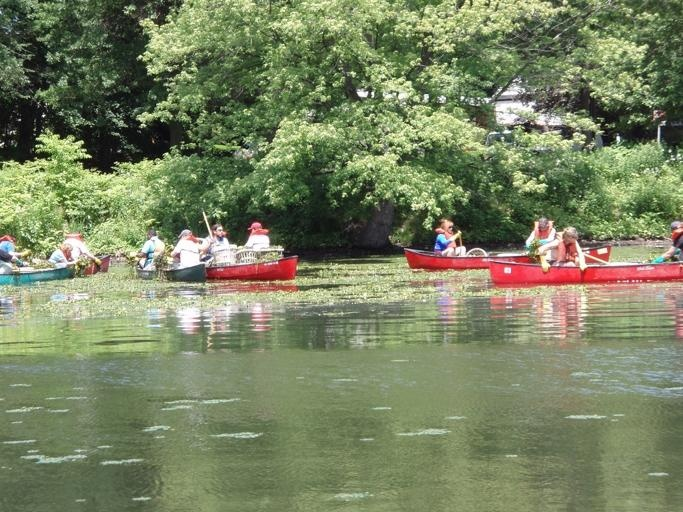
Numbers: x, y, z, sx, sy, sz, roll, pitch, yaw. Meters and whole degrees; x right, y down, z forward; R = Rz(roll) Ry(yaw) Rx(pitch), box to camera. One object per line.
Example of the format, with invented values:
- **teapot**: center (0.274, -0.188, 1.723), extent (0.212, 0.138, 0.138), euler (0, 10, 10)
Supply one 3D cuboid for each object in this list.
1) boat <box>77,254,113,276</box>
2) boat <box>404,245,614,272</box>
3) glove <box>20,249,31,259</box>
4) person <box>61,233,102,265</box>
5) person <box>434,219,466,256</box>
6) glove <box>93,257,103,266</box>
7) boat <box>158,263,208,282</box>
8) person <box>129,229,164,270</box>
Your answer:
- **boat**: center (-7.873, 0.293, 34.899), extent (0.624, 0.629, 2.446), euler (-2, 3, 9)
- **boat**: center (4.525, 0.076, 29.810), extent (5.193, 0.617, 0.924), euler (1, 1, 11)
- **glove**: center (-10.226, -0.076, 35.547), extent (0.322, 0.086, 0.234), euler (-29, 36, -13)
- **person**: center (-8.117, -0.079, 33.979), extent (1.003, 0.371, 1.090), euler (23, 11, 22)
- **person**: center (3.206, -0.475, 32.444), extent (1.010, 1.129, 0.966), euler (0, 9, 18)
- **glove**: center (-7.774, 0.166, 35.069), extent (0.289, 0.110, 0.208), euler (39, -2, 0)
- **boat**: center (-4.412, 0.424, 31.028), extent (0.279, 0.713, 1.753), euler (-9, 14, -41)
- **person**: center (-5.709, -0.245, 32.927), extent (0.724, 1.269, 1.886), euler (-3, 11, -19)
